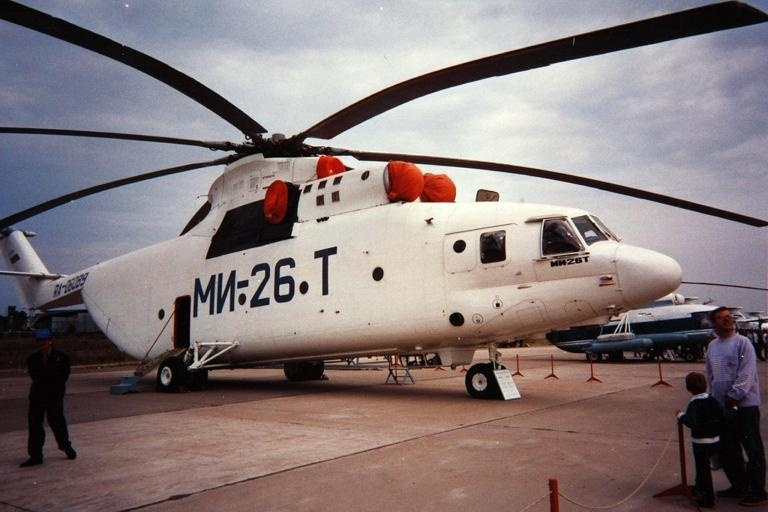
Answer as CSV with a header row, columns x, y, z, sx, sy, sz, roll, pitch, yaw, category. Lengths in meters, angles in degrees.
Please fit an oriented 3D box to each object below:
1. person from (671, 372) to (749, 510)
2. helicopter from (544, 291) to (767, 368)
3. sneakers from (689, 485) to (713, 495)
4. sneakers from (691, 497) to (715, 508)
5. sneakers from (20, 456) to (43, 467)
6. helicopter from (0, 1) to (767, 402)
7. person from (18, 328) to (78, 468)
x,y,z,sx,sy,sz,roll,pitch,yaw,category
4.874,2.719,8.257,0.985,1.947,0.443,0,-7,-28,person
12.845,4.386,30.063,9.124,3.544,7.552,-13,-9,29,helicopter
4.729,3.509,8.210,0.296,0.136,0.170,-6,-7,33,sneakers
4.738,3.634,8.108,0.261,0.140,0.185,-5,-6,21,sneakers
-6.446,3.744,10.031,0.411,0.162,0.259,-1,-6,-12,sneakers
-2.678,0.065,16.278,15.370,4.550,13.015,-4,-1,30,helicopter
-6.420,2.626,10.516,0.857,2.476,1.070,0,-7,-28,person
